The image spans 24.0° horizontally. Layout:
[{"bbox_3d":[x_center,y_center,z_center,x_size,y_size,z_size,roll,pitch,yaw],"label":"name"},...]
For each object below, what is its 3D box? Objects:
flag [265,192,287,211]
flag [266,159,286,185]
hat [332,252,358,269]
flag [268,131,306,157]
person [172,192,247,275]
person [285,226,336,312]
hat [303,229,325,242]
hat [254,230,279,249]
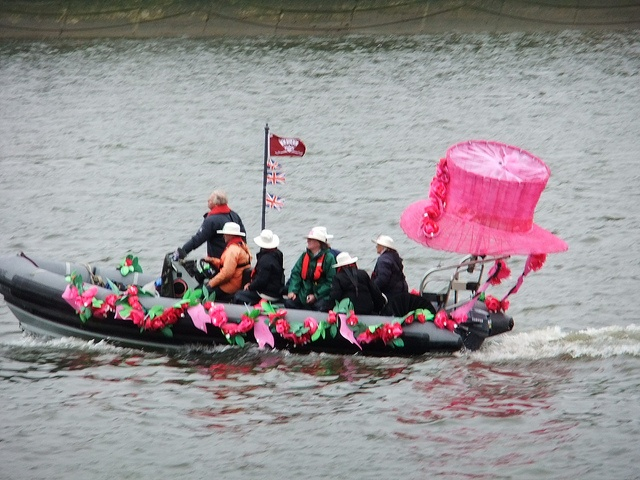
[{"bbox_3d":[-1.025,-0.874,34.141,0.417,0.379,0.399,16,0,9],"label":"flag"},{"bbox_3d":[-1.031,-1.555,34.033,0.543,0.483,0.167,2,5,3],"label":"flag"},{"bbox_3d":[0.485,0.444,32.636,0.348,0.139,0.380,-22,4,-36],"label":"hat"},{"bbox_3d":[-0.784,-2.166,34.260,0.802,0.504,0.741,7,12,-4],"label":"flag"},{"bbox_3d":[-2.566,-0.088,34.747,0.709,1.875,1.525,27,36,25],"label":"person"},{"bbox_3d":[-0.161,0.631,32.749,0.995,1.833,0.453,9,13,1],"label":"person"},{"bbox_3d":[-0.074,-0.143,32.736,0.447,0.298,0.491,8,12,2],"label":"hat"},{"bbox_3d":[-1.177,-0.033,32.850,0.507,0.420,0.256,5,13,-15],"label":"hat"}]
